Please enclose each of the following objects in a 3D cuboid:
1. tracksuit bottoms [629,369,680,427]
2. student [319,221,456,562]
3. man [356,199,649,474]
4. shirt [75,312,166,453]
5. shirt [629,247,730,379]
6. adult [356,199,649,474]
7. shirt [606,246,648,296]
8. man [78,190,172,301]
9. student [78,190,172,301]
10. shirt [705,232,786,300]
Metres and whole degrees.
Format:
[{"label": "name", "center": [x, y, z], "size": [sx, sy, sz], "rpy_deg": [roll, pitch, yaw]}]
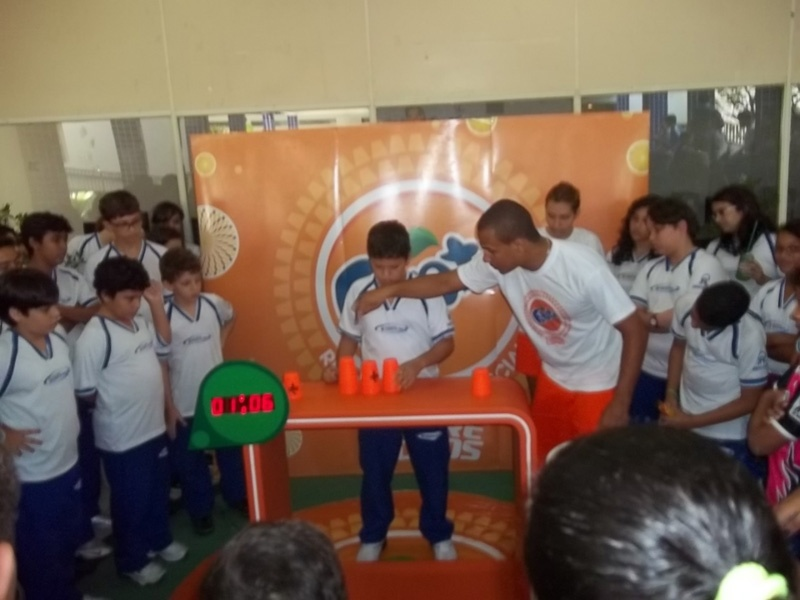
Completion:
[{"label": "tracksuit bottoms", "center": [1.516, 0.589, 3.775], "size": [0.105, 0.346, 0.321], "rpy_deg": [4, 8, -13]}, {"label": "student", "center": [-0.076, 0.542, 3.370], "size": [0.668, 1.928, 0.582], "rpy_deg": [0, 8, 2]}, {"label": "man", "center": [0.585, 0.408, 3.250], "size": [1.292, 1.950, 0.620], "rpy_deg": [-1, 27, 25]}, {"label": "shirt", "center": [-1.527, 0.441, 3.377], "size": [0.445, 0.708, 0.288], "rpy_deg": [-15, 19, -35]}, {"label": "shirt", "center": [1.464, 0.089, 3.246], "size": [0.376, 0.801, 0.583], "rpy_deg": [-5, 11, -3]}, {"label": "adult", "center": [0.591, 0.419, 3.236], "size": [1.292, 1.944, 0.681], "rpy_deg": [1, 27, 28]}, {"label": "shirt", "center": [1.562, -0.178, 4.266], "size": [0.097, 0.342, 0.318], "rpy_deg": [1, 25, -42]}, {"label": "man", "center": [-1.802, -0.350, 4.100], "size": [0.562, 0.747, 0.298], "rpy_deg": [-26, 56, -39]}, {"label": "student", "center": [-1.802, -0.350, 4.100], "size": [0.562, 0.747, 0.298], "rpy_deg": [-26, 56, -39]}, {"label": "shirt", "center": [2.039, -0.194, 3.626], "size": [0.328, 0.356, 0.192], "rpy_deg": [7, 8, -9]}]
